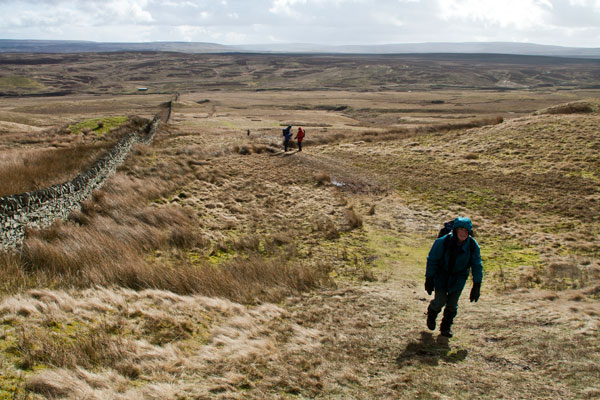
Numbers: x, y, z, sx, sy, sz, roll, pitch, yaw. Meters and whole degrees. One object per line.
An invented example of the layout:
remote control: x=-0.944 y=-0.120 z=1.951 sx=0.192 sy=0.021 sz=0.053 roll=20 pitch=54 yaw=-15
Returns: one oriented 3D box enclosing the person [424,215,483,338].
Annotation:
person: x=3.108 y=1.540 z=8.719 sx=1.069 sy=2.535 sz=0.531 roll=16 pitch=21 yaw=23
